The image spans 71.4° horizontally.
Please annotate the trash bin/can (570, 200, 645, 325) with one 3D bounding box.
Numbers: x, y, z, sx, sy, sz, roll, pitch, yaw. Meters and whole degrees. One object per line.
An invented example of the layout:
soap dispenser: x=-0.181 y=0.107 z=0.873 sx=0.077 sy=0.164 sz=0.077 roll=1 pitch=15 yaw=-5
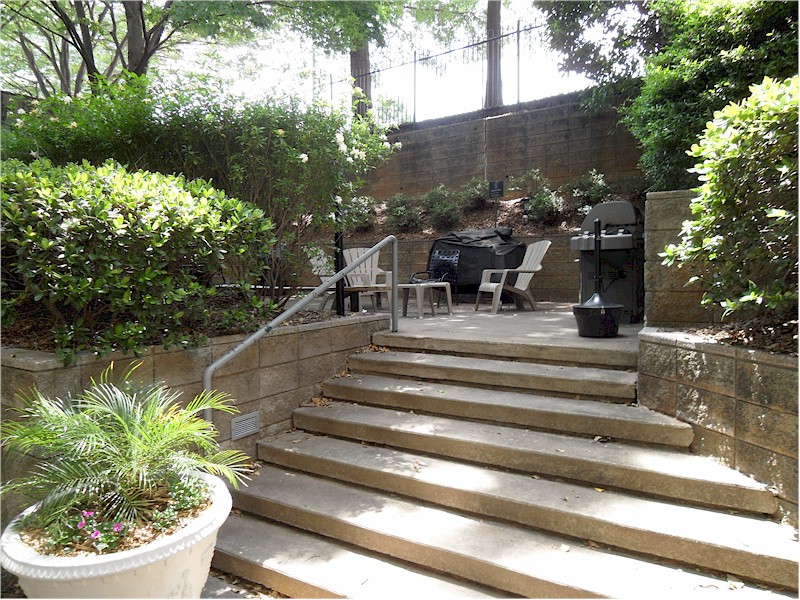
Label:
trash bin/can: x=2.711 y=-0.479 z=7.158 sx=0.839 sy=1.539 sz=1.084 roll=1 pitch=11 yaw=20
